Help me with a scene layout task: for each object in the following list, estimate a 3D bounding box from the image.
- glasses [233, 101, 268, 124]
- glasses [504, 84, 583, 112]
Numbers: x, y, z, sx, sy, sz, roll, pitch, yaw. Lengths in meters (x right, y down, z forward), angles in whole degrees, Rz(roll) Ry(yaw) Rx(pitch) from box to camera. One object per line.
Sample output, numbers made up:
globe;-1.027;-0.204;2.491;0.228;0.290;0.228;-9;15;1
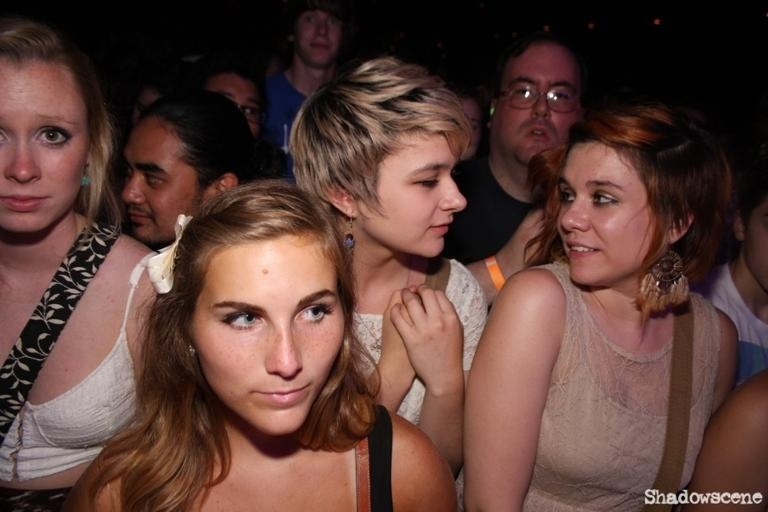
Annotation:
glasses;-0.951;-1.040;4.667;0.178;0.053;0.182;4;15;-41
glasses;1.112;-1.121;4.555;0.525;0.191;0.102;6;7;8
